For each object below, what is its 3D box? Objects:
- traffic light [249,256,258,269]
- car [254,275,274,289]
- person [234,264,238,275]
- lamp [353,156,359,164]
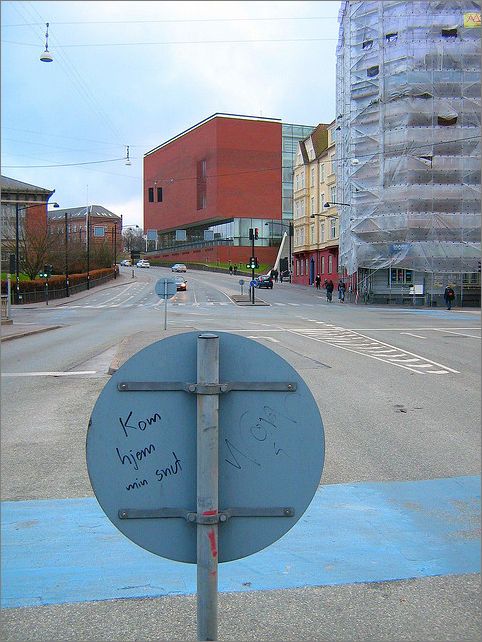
[{"bbox_3d":[0.839,-3.788,46.890,0.665,1.102,0.521,0,1,14],"label":"traffic light"},{"bbox_3d":[2.108,-3.464,65.370,1.460,1.129,1.913,-2,5,-4],"label":"car"},{"bbox_3d":[-0.609,-6.100,86.736,0.520,1.049,1.540,-1,5,3],"label":"person"},{"bbox_3d":[6.628,-9.248,41.930,0.355,0.353,0.184,-2,4,5],"label":"lamp"}]
